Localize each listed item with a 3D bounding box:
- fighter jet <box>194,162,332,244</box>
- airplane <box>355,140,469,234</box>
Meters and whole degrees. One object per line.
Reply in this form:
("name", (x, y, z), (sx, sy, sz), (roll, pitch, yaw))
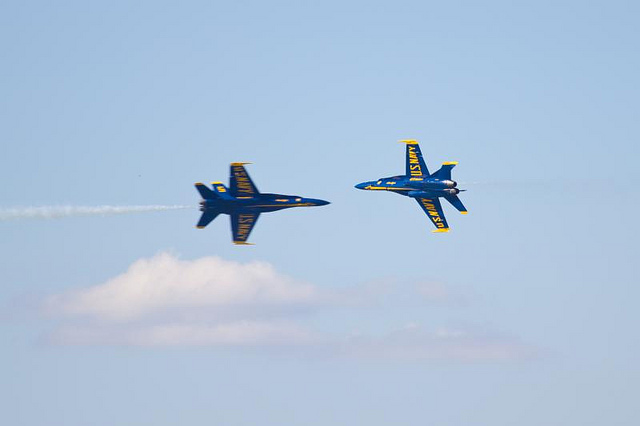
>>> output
("fighter jet", (-6.363, -1.105, 134.472), (12.531, 7.572, 2.600), (-1, -17, 7))
("airplane", (8.802, -3.601, 137.691), (17.429, 9.690, 8.609), (0, -3, 44))
